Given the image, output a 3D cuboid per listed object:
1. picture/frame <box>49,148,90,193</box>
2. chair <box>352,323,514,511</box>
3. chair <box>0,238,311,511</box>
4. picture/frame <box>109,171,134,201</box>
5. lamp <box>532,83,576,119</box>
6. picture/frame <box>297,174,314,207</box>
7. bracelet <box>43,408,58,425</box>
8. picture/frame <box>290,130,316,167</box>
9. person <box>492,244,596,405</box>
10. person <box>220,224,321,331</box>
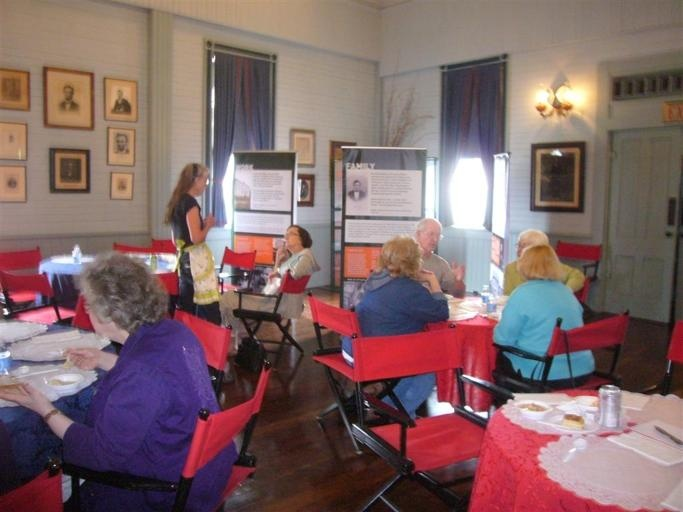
[{"bbox_3d":[-3.522,-1.112,6.700,0.597,0.673,0.049,-2,4,-43],"label":"picture/frame"},{"bbox_3d":[0.549,0.795,3.145,0.842,1.135,1.117,-1,-2,-23],"label":"chair"},{"bbox_3d":[-0.882,0.548,2.242,0.889,1.084,0.501,5,12,18],"label":"chair"},{"bbox_3d":[-3.023,-0.964,7.121,0.382,0.464,0.038,-5,10,-42],"label":"picture/frame"},{"bbox_3d":[3.079,-2.245,7.585,0.585,0.489,0.233,7,13,30],"label":"lamp"},{"bbox_3d":[-0.620,-1.148,9.179,0.093,0.574,0.427,9,13,34],"label":"picture/frame"},{"bbox_3d":[-1.208,0.663,2.182,0.051,0.038,0.052,-40,-2,35],"label":"bracelet"},{"bbox_3d":[-0.665,-1.879,9.087,0.596,0.666,0.112,-10,15,-44],"label":"picture/frame"},{"bbox_3d":[1.314,0.469,3.445,0.556,1.091,0.678,-2,3,-19],"label":"person"},{"bbox_3d":[-0.707,0.205,5.783,1.148,1.549,0.934,2,1,-3],"label":"person"}]
